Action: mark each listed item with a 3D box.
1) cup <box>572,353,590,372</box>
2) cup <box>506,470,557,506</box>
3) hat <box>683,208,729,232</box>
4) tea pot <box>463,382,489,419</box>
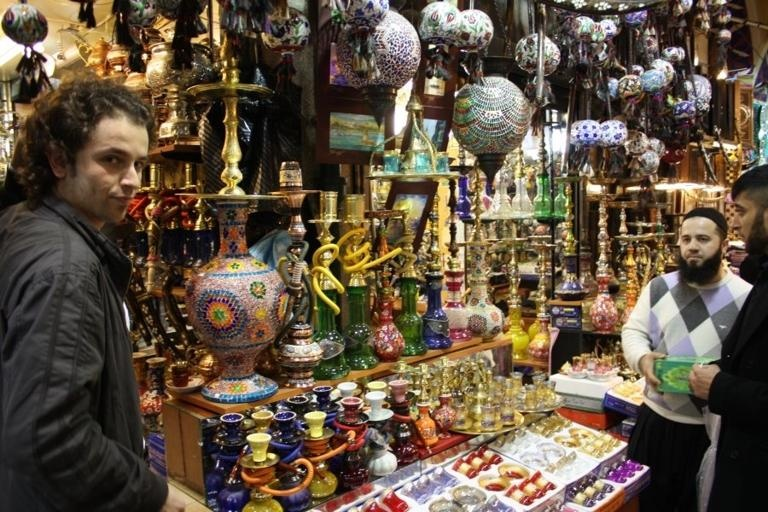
[{"bbox_3d":[1.315,0.731,4.360,0.137,0.124,0.081,0,2,3],"label":"cup"},{"bbox_3d":[0.671,1.062,2.942,0.232,0.065,0.121,-5,7,-36],"label":"cup"},{"bbox_3d":[1.783,-0.204,3.561,0.164,0.080,0.159,21,9,-40],"label":"hat"},{"bbox_3d":[0.481,0.750,3.309,0.150,0.195,0.123,2,0,-18],"label":"tea pot"}]
